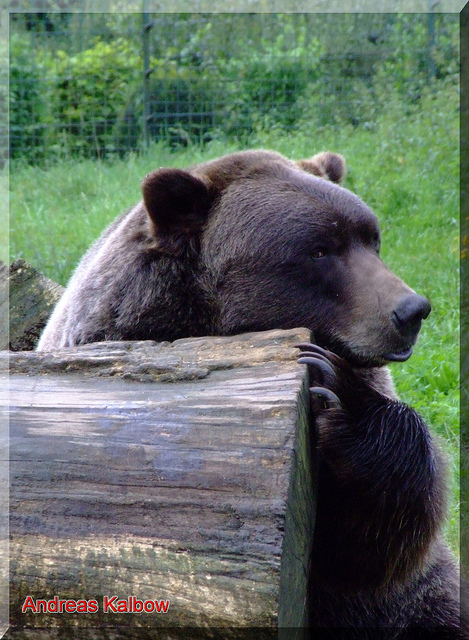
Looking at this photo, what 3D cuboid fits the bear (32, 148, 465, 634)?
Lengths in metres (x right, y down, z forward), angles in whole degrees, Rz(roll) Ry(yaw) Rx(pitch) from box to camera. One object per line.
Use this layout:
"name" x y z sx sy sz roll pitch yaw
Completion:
"bear" 0.091 0.356 2.900 1.358 1.492 1.957 10 -23 -42
